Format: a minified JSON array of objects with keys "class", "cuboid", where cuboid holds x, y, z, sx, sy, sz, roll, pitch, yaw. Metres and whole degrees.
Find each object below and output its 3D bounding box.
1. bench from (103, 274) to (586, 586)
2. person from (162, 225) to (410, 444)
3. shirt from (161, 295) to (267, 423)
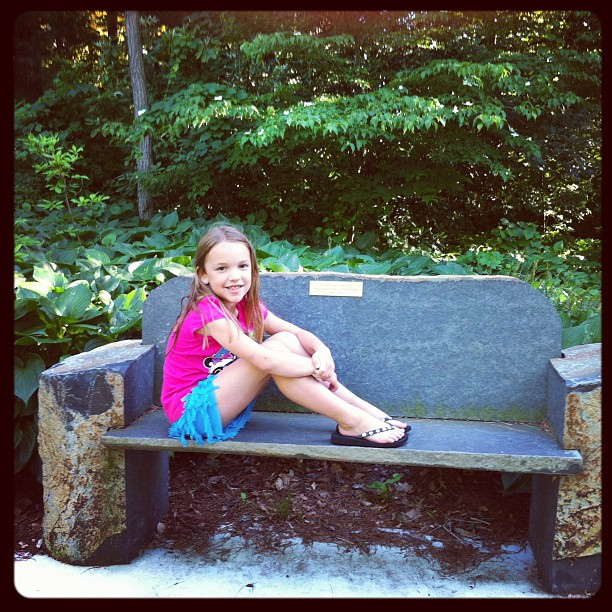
[{"class":"bench","cuboid":[0.135,0.465,2.536,1.930,0.968,0.619,1,13,10]},{"class":"person","cuboid":[-0.124,0.108,2.417,0.938,0.820,0.608,1,15,1]},{"class":"shirt","cuboid":[-0.356,0.182,2.382,0.383,0.458,0.252,-6,16,-24]}]
